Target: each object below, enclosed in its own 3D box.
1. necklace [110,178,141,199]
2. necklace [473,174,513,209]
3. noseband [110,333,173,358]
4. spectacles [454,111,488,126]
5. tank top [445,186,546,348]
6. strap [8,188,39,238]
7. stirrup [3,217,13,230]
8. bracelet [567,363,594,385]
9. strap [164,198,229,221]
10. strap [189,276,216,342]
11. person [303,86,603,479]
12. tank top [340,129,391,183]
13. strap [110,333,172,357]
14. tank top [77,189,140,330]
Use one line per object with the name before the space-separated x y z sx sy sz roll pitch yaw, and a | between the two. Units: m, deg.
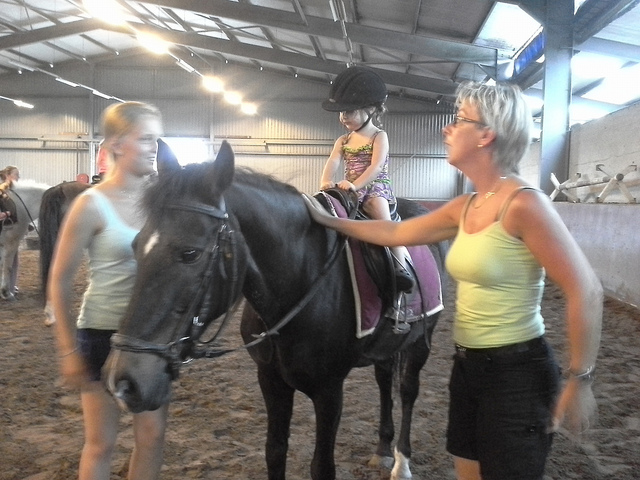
necklace | -0.791 -0.199 2.207 0.138 0.032 0.129 19 3 -3
necklace | 0.659 -0.187 2.074 0.025 0.109 0.063 40 -1 -17
noseband | -0.629 0.372 1.916 0.131 0.033 0.102 15 -8 -26
spectacles | 0.570 -0.469 2.111 0.042 0.048 0.152 -4 10 -39
tank top | 0.678 0.111 2.099 0.370 0.636 0.175 5 8 22
strap | -3.869 -0.377 7.066 0.261 0.798 0.043 -37 -19 23
stirrup | -3.870 -0.197 6.735 0.100 0.154 0.060 -2 9 -29
bracelet | 0.924 0.475 1.909 0.132 0.072 0.039 32 -35 -32
strap | -0.447 -0.107 1.962 0.223 0.078 0.033 0 8 -14
strap | -0.427 0.251 1.975 0.063 0.199 0.151 20 -13 -4
person | 0.651 0.193 2.176 0.319 1.575 0.898 -5 10 -43
tank top | 0.243 -0.475 3.147 0.254 0.284 0.188 10 11 44
strap | -0.629 0.374 1.914 0.131 0.034 0.102 14 -9 -26
tank top | -0.878 0.083 2.226 0.235 0.568 0.100 3 8 3
